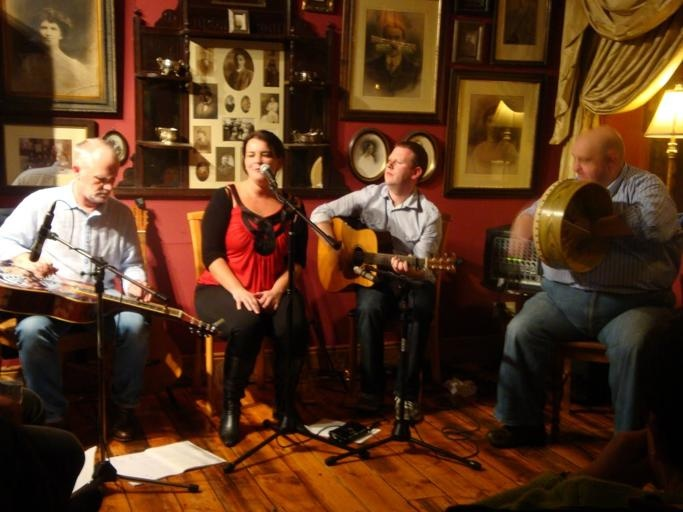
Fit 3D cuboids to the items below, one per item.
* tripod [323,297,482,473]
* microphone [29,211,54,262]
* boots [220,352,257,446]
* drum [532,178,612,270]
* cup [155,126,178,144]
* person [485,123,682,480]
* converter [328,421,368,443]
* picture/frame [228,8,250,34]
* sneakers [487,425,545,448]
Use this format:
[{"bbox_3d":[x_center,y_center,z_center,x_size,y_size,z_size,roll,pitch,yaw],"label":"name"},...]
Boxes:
[{"bbox_3d":[0.359,0.586,3.393,0.750,1.036,0.856,2,2,42],"label":"tripod"},{"bbox_3d":[-1.432,-0.103,2.985,0.051,0.271,0.050,30,19,19],"label":"microphone"},{"bbox_3d":[-0.564,0.743,3.320,0.126,0.477,0.189,7,11,26],"label":"boots"},{"bbox_3d":[1.137,-0.153,3.030,0.346,0.394,0.141,-16,13,-21],"label":"drum"},{"bbox_3d":[-1.064,-0.745,3.826,0.110,0.086,0.111,1,13,0],"label":"cup"},{"bbox_3d":[1.270,0.200,3.221,0.830,1.712,0.747,7,11,26],"label":"person"},{"bbox_3d":[0.046,0.952,3.368,0.090,0.036,0.143,4,3,43],"label":"converter"},{"bbox_3d":[-0.629,-1.462,3.931,0.134,0.157,0.147,4,4,15],"label":"picture/frame"},{"bbox_3d":[0.952,0.962,3.428,0.287,0.137,0.129,3,3,0],"label":"sneakers"}]
